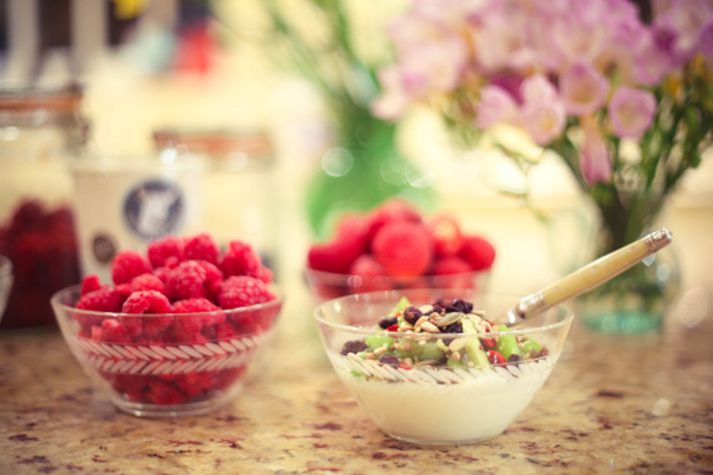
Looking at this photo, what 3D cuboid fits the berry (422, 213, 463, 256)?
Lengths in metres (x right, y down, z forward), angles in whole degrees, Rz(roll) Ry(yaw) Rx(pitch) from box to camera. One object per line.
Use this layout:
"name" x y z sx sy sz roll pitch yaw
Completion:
"berry" 0.163 -0.004 1.220 0.032 0.064 0.085 3 7 41
